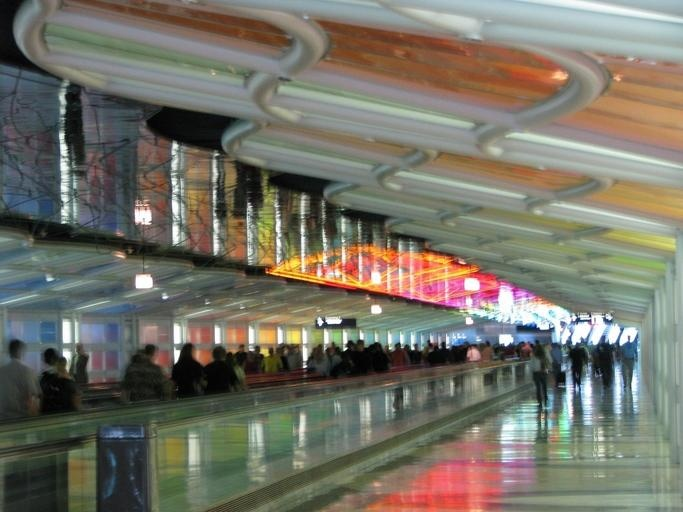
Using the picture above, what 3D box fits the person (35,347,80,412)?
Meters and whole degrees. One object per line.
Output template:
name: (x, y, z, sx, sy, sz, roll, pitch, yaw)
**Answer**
person: (-4.058, 1.779, 11.490, 0.515, 0.876, 2.290, 1, -7, -20)
